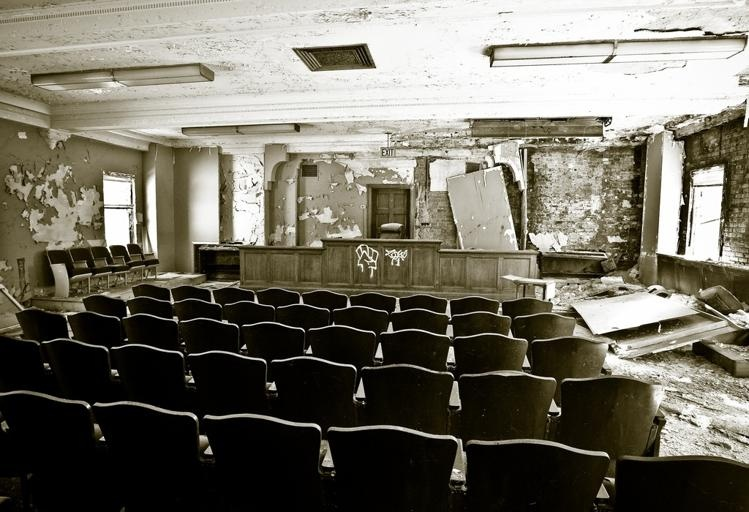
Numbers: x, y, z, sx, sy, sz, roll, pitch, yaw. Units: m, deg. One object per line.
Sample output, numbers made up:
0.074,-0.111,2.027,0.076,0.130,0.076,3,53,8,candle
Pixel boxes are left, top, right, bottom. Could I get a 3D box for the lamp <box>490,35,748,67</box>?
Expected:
3.091,-2.677,7.874,3.162,0.256,0.367,1,4,5,lamp
